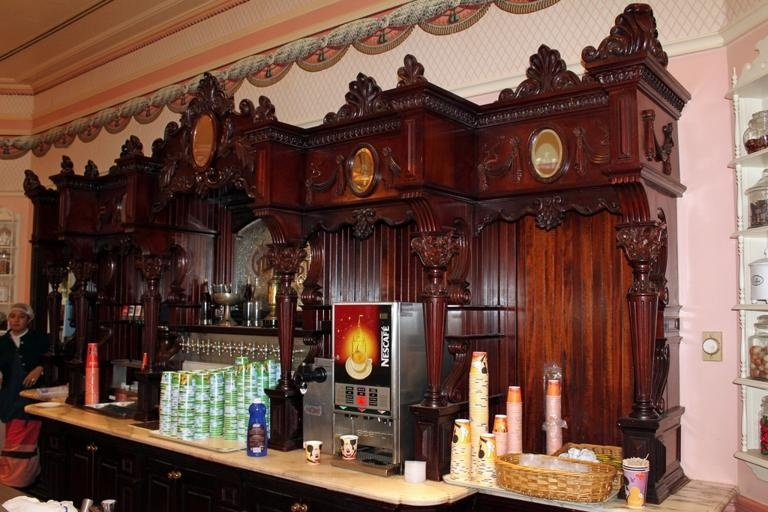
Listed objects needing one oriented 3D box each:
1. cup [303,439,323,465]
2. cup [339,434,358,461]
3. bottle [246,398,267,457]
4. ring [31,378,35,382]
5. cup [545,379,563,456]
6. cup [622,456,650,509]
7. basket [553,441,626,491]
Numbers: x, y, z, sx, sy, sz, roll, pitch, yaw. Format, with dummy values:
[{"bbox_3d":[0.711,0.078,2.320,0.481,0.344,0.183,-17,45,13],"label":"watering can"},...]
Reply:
[{"bbox_3d":[-0.519,1.435,4.157,0.130,0.130,0.140,-1,-18,0],"label":"cup"},{"bbox_3d":[-0.251,1.370,4.088,0.126,0.170,0.188,2,-11,-2],"label":"cup"},{"bbox_3d":[-0.932,1.309,4.366,0.143,0.420,0.222,-4,-11,26],"label":"bottle"},{"bbox_3d":[-4.217,1.510,6.884,0.009,0.031,0.030,11,-2,36],"label":"ring"},{"bbox_3d":[1.147,1.092,3.880,0.108,0.493,0.217,-2,-11,16],"label":"cup"},{"bbox_3d":[1.511,1.350,3.395,0.186,0.278,0.102,4,-10,-13],"label":"cup"},{"bbox_3d":[1.407,1.363,3.801,0.260,0.129,0.349,-1,0,-43],"label":"basket"}]
